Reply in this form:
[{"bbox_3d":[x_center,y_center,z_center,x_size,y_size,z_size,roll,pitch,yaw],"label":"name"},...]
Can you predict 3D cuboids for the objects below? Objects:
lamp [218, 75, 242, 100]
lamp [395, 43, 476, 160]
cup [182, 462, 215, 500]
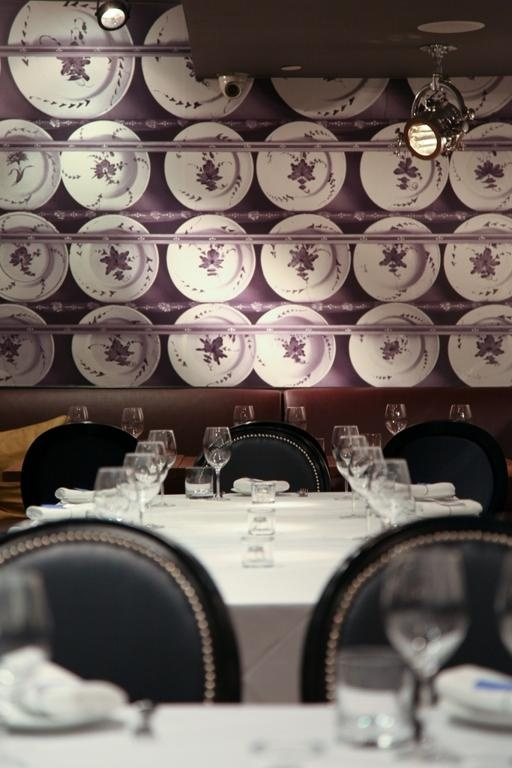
[{"bbox_3d":[-0.149,-1.694,3.942,0.129,0.147,0.224,-2,41,-2],"label":"lamp"},{"bbox_3d":[0.859,-1.338,3.262,0.343,0.505,0.286,8,30,30],"label":"lamp"},{"bbox_3d":[-0.151,0.269,1.898,0.083,0.085,0.085,0,1,0],"label":"cup"}]
